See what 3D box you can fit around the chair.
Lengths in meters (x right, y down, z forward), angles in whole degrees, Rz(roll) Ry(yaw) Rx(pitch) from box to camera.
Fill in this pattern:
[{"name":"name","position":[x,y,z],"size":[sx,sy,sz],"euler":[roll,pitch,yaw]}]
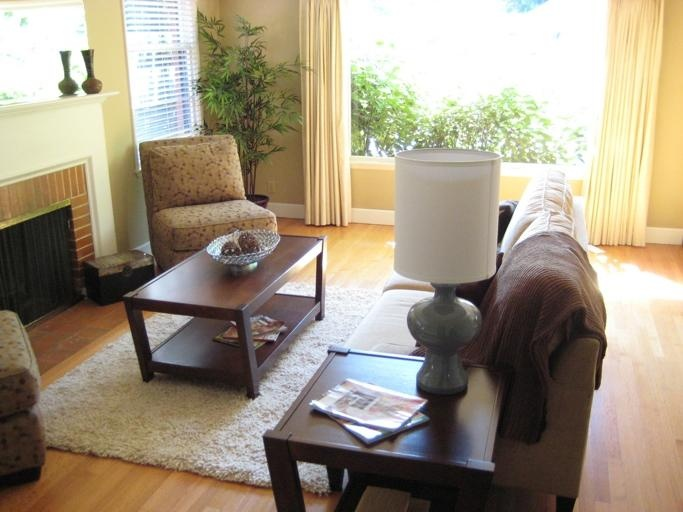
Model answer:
[{"name":"chair","position":[-1.144,-0.406,4.576],"size":[1.205,1.199,1.253],"euler":[5,17,20]}]

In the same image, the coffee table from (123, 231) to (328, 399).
[{"name":"coffee table","position":[-0.656,0.324,3.427],"size":[0.780,0.535,1.285],"euler":[6,19,20]}]

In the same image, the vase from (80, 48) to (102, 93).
[{"name":"vase","position":[-1.966,-1.446,4.072],"size":[0.138,0.336,0.253],"euler":[-7,20,-15]}]

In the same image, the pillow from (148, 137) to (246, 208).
[{"name":"pillow","position":[-1.275,-0.715,4.543],"size":[0.585,0.416,0.200],"euler":[-13,13,-20]}]

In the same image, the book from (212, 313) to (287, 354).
[{"name":"book","position":[-0.551,0.474,3.118],"size":[0.240,0.072,0.235],"euler":[5,21,12]}]

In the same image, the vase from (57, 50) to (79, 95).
[{"name":"vase","position":[-2.079,-1.386,3.924],"size":[0.132,0.331,0.144],"euler":[-11,22,-25]}]

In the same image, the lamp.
[{"name":"lamp","position":[0.387,0.067,1.941],"size":[0.370,0.890,0.334],"euler":[4,20,14]}]
